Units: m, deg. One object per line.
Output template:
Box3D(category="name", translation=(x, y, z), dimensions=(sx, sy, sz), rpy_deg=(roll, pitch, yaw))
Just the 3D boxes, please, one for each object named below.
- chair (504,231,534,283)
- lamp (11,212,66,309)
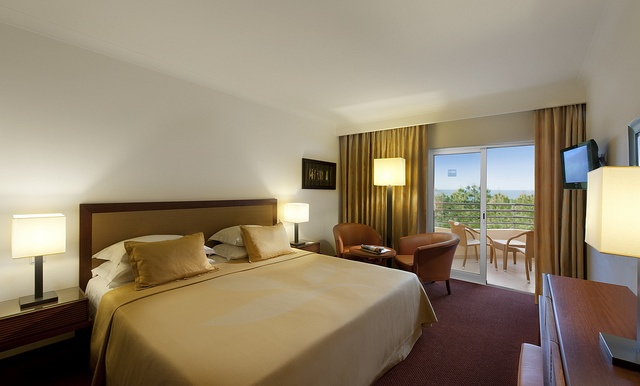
Box3D(category="chair", translation=(3.459, 1.081, 6.978), dimensions=(0.474, 0.866, 0.971), rpy_deg=(-4, -3, 24))
Box3D(category="lamp", translation=(-3.307, 0.782, 4.701), dimensions=(0.542, 1.078, 0.318), rpy_deg=(-2, -2, -36))
